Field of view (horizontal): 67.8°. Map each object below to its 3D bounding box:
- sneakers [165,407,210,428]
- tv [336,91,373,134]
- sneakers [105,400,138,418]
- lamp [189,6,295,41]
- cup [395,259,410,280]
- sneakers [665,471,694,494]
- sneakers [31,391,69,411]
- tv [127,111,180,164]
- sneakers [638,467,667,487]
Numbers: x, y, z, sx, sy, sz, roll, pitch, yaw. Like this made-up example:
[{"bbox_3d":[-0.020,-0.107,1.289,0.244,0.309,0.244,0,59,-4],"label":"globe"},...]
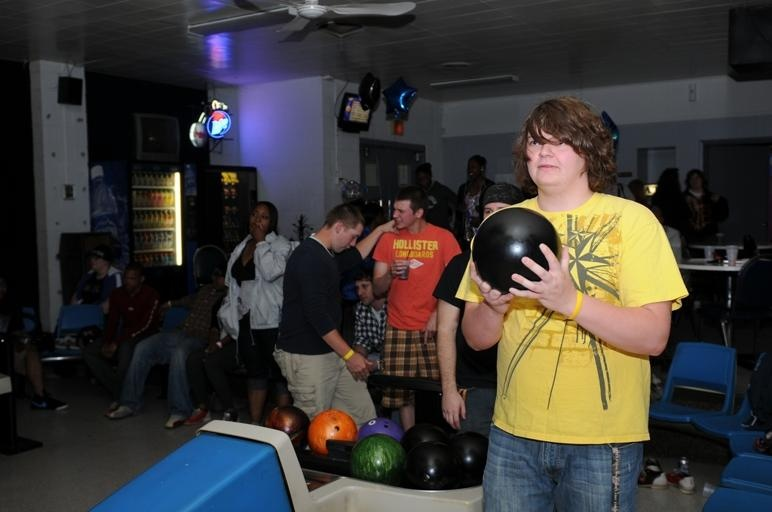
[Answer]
[{"bbox_3d":[-2.010,1.643,5.802,0.453,0.185,0.154,9,-14,-37],"label":"sneakers"},{"bbox_3d":[-0.536,-2.350,9.386,0.343,0.667,0.691,14,12,40],"label":"tv"},{"bbox_3d":[-2.772,1.599,6.015,0.278,0.110,0.164,5,-2,-11],"label":"sneakers"},{"bbox_3d":[-1.566,-2.514,6.218,0.845,0.143,0.073,0,36,36],"label":"lamp"},{"bbox_3d":[0.139,0.126,4.865,0.105,0.178,0.150,0,10,12],"label":"cup"},{"bbox_3d":[2.291,1.741,4.471,0.107,0.101,0.236,0,3,-17],"label":"sneakers"},{"bbox_3d":[-3.652,1.593,6.284,0.440,0.182,0.161,2,0,-8],"label":"sneakers"},{"bbox_3d":[-3.768,-1.866,9.226,0.519,0.897,0.973,1,1,36],"label":"tv"},{"bbox_3d":[2.089,1.723,4.463,0.240,0.140,0.093,-2,10,-5],"label":"sneakers"}]
